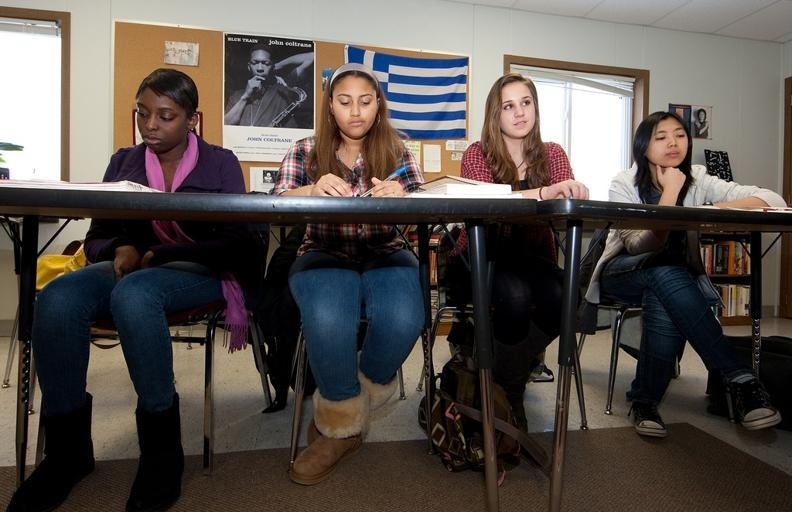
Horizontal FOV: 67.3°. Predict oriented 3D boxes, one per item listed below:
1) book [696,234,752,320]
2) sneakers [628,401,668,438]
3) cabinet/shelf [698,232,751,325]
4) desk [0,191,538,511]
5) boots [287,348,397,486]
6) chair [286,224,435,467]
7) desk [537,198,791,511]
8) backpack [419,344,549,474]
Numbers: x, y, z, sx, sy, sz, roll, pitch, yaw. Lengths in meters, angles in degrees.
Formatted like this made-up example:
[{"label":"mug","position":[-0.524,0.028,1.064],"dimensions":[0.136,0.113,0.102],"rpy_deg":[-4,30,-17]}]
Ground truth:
[{"label":"book","position":[2.565,0.155,4.641],"dimensions":[0.210,0.653,0.660],"rpy_deg":[1,-10,15]},{"label":"sneakers","position":[1.306,0.846,3.108],"dimensions":[0.135,0.149,0.380],"rpy_deg":[4,-3,11]},{"label":"cabinet/shelf","position":[2.616,0.176,4.727],"dimensions":[0.241,0.745,0.754],"rpy_deg":[0,-5,17]},{"label":"desk","position":[-0.515,0.349,2.527],"dimensions":[2.164,1.380,0.742],"rpy_deg":[0,12,12]},{"label":"boots","position":[-0.214,0.695,2.801],"dimensions":[0.232,0.341,0.733],"rpy_deg":[12,31,32]},{"label":"chair","position":[-0.133,0.336,2.815],"dimensions":[0.522,0.857,0.495],"rpy_deg":[1,14,-5]},{"label":"desk","position":[1.159,0.358,2.678],"dimensions":[1.342,1.314,0.470],"rpy_deg":[-8,13,-25]},{"label":"backpack","position":[0.414,0.758,2.896],"dimensions":[0.500,0.490,0.375],"rpy_deg":[34,14,18]}]
